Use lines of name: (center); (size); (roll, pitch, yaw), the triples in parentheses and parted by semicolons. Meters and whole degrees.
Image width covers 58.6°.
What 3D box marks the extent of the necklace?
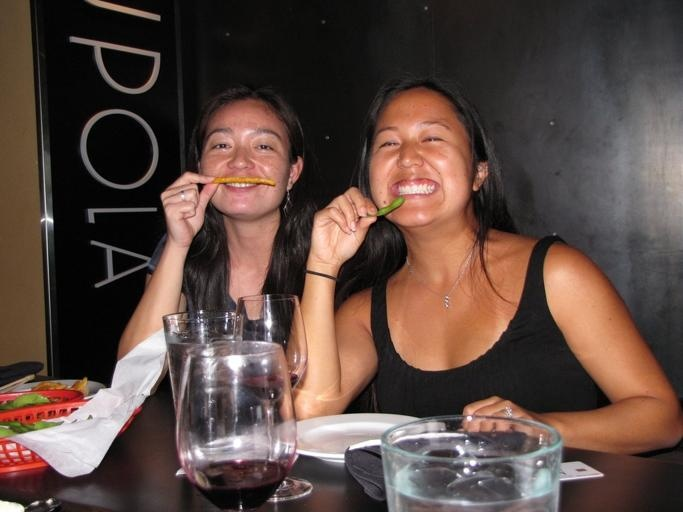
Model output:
necklace: (0.402, 0.091, 2.247); (0.216, 0.216, 0.051); (-2, -7, 38)

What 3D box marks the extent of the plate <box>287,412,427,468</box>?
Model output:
plate: (0.014, 0.451, 1.569); (0.215, 0.029, 0.219); (-2, 4, 22)

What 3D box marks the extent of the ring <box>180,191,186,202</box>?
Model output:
ring: (-0.666, -0.259, 2.579); (0.023, 0.034, 0.012); (1, -12, -2)
